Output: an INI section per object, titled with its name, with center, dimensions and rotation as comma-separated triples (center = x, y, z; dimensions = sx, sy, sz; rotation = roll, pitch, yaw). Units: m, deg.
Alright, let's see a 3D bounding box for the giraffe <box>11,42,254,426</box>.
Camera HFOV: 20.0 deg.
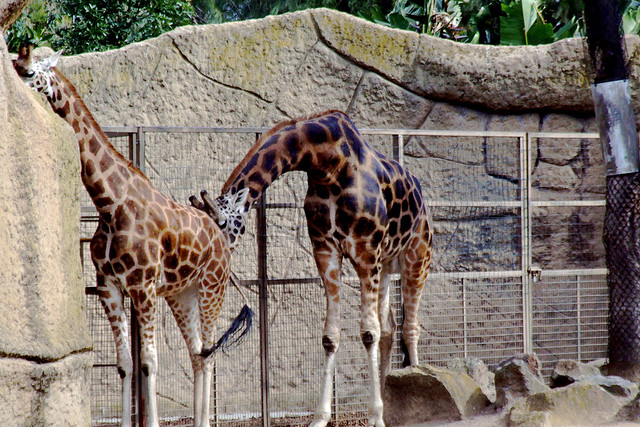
[giraffe]
center = -1.762, 0.227, 17.668
dimensions = 1.742, 3.932, 0.587
rotation = -6, 8, -6
